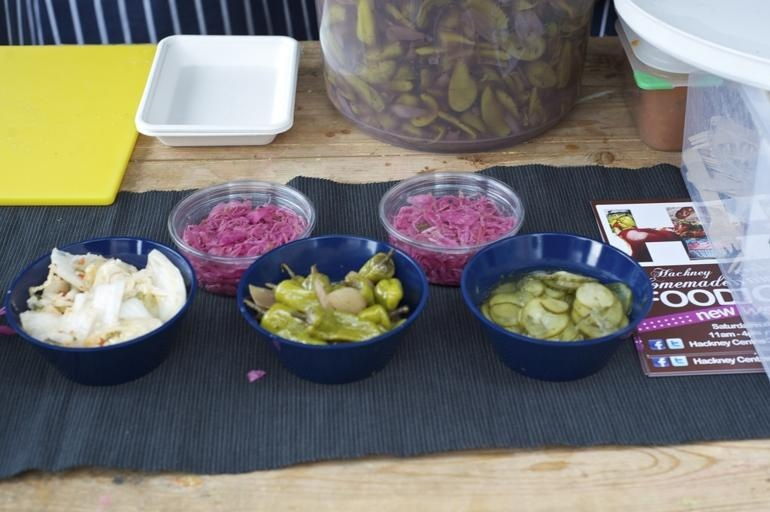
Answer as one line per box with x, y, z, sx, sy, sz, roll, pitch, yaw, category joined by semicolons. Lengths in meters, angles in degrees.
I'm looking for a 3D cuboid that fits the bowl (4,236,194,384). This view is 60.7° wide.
-0.481;0.126;1.232;0.344;0.124;0.303;-8;45;-19;bowl

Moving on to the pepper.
-0.091;0.089;1.195;0.204;0.077;0.198;-29;41;-35;pepper

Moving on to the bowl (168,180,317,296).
-0.316;-0.065;1.386;0.304;0.112;0.268;1;40;2;bowl

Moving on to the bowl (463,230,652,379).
0.304;0.067;1.230;0.331;0.112;0.298;-15;38;-14;bowl

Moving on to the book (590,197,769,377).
0.605;0.061;1.345;0.311;0.021;0.426;-2;45;-2;book
